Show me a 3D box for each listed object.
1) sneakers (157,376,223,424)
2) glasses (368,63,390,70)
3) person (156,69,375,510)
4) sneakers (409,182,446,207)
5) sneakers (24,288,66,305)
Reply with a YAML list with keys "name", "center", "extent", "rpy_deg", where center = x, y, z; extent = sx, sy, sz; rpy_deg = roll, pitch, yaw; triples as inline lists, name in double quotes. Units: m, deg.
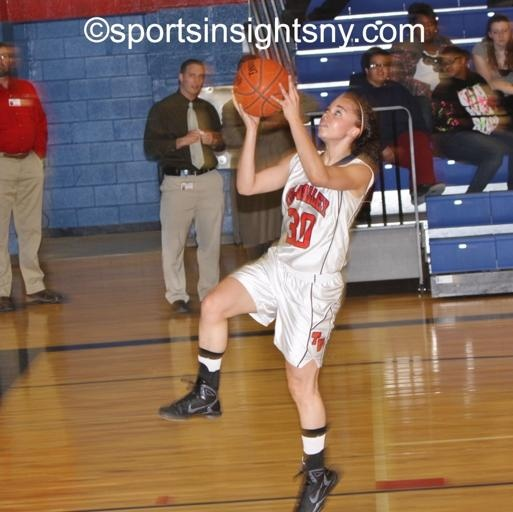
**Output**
- name: "sneakers"
  center: [-0.202, 0.489, 2.269]
  extent: [0.265, 0.171, 0.097]
  rpy_deg: [1, -3, -6]
- name: "glasses"
  center: [0.920, -1.413, 5.061]
  extent: [0.149, 0.049, 0.036]
  rpy_deg: [-3, 13, 2]
- name: "person"
  center: [0.079, 0.087, 2.347]
  extent: [0.589, 1.359, 0.647]
  rpy_deg: [3, 14, 26]
- name: "sneakers"
  center: [1.240, -0.452, 4.838]
  extent: [0.294, 0.113, 0.111]
  rpy_deg: [-21, -29, 35]
- name: "sneakers"
  center: [-1.459, 0.285, 4.761]
  extent: [0.290, 0.126, 0.104]
  rpy_deg: [-1, 6, -4]
